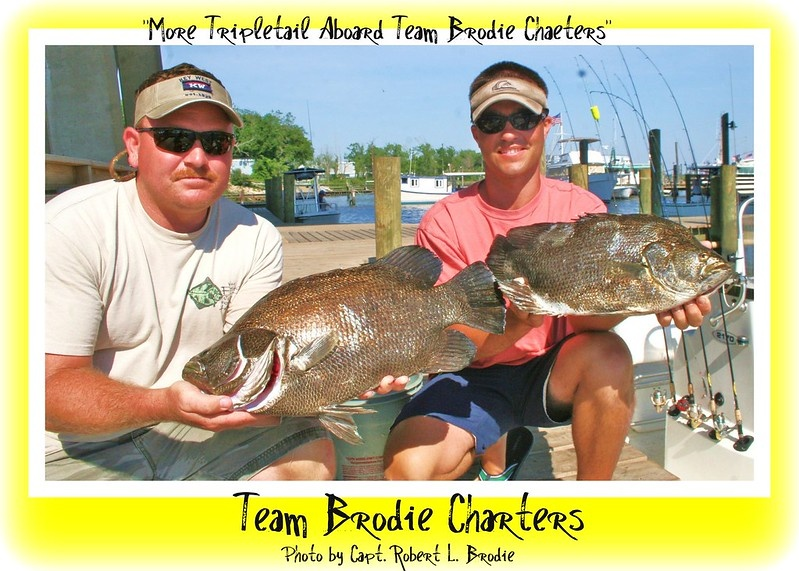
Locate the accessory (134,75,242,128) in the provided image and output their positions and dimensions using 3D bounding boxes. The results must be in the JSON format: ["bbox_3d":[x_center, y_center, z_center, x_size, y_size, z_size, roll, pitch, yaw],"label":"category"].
[{"bbox_3d":[-1.192,-1.020,3.920,0.512,0.244,0.691,-6,11,-30],"label":"accessory"}]

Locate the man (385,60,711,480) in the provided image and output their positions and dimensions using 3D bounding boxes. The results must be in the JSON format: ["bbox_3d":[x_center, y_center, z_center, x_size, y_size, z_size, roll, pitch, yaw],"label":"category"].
[{"bbox_3d":[0.706,0.070,4.036,1.675,2.601,1.497,-4,4,-3],"label":"man"}]

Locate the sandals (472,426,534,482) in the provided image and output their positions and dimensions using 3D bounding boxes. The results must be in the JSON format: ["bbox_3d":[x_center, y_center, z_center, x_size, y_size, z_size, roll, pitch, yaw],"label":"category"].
[{"bbox_3d":[0.632,1.055,4.213,0.177,0.145,0.491,14,55,30],"label":"sandals"}]

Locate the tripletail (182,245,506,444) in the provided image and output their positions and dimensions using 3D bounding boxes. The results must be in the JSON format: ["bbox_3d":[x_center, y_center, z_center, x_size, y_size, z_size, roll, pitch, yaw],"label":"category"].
[{"bbox_3d":[-0.294,0.309,3.588,1.065,0.616,0.312,-7,-8,-11],"label":"tripletail"}]

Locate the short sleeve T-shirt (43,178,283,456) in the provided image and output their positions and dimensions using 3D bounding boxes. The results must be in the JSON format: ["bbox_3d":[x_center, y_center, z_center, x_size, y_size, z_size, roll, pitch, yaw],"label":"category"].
[{"bbox_3d":[-1.261,0.207,3.612,1.435,1.123,0.538,2,4,-26],"label":"short sleeve T-shirt"}]
